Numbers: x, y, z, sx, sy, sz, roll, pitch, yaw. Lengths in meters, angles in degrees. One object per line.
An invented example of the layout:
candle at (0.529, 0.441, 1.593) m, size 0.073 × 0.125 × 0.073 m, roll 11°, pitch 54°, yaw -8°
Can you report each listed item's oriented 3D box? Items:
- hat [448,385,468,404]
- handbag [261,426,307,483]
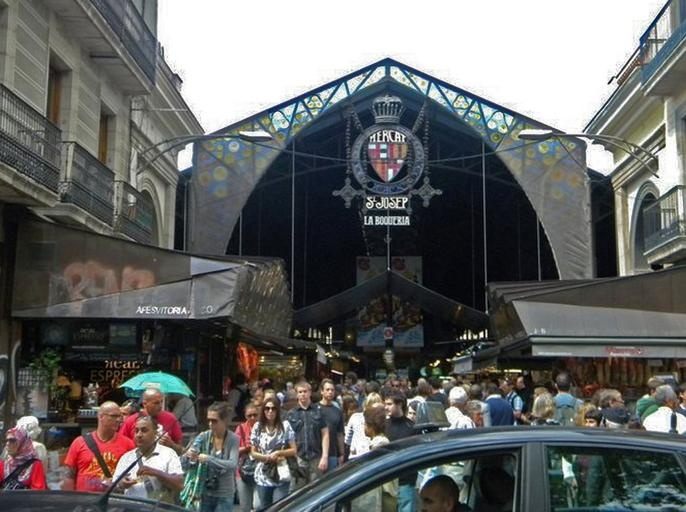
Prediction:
hat at (1.645, 1.991, 10.822) m, size 0.204 × 0.157 × 0.296 m, roll 7°, pitch 20°, yaw 12°
handbag at (-0.777, 2.620, 9.902) m, size 0.437 × 0.793 × 0.619 m, roll -20°, pitch -20°, yaw 2°
